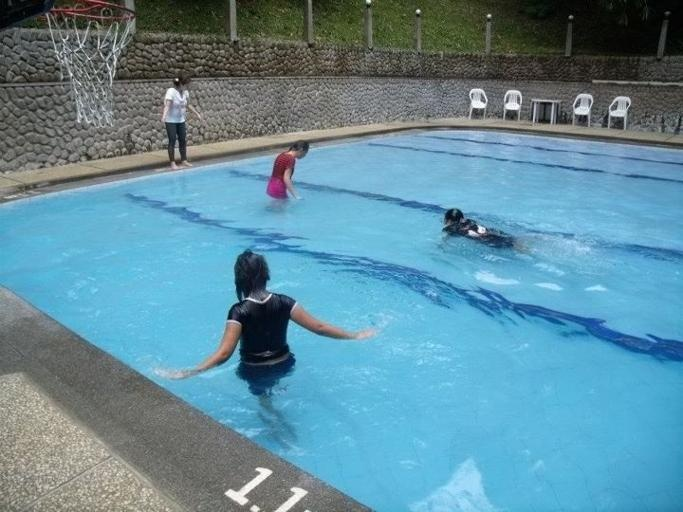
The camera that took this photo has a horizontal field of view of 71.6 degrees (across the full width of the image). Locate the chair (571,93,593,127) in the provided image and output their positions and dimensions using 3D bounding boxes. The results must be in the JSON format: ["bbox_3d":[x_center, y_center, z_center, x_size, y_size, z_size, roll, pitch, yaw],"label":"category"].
[{"bbox_3d":[10.452,-6.390,20.416,0.837,1.321,1.341,10,23,23],"label":"chair"}]

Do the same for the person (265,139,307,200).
[{"bbox_3d":[-1.052,-1.609,8.887,0.501,1.232,1.348,-8,22,-19],"label":"person"}]

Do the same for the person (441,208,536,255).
[{"bbox_3d":[2.243,-0.393,7.678,0.809,0.375,1.092,-19,31,-30],"label":"person"}]

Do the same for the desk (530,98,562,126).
[{"bbox_3d":[9.228,-6.655,21.461,1.325,1.026,1.451,13,24,31],"label":"desk"}]

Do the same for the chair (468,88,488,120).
[{"bbox_3d":[6.554,-7.392,22.630,0.937,1.365,1.528,6,21,14],"label":"chair"}]
